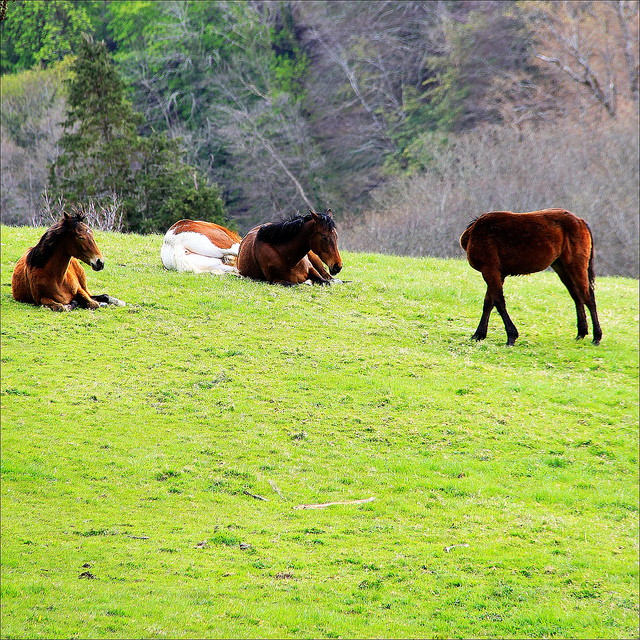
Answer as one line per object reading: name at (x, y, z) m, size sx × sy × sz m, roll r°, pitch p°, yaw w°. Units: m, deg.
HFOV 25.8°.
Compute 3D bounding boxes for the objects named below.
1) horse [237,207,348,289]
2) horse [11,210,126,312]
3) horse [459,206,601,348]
horse at (-0.340, -1.576, 36.321) m, size 2.296 × 2.259 × 2.327 m, roll -8°, pitch 17°, yaw -30°
horse at (-6.199, -1.356, 33.236) m, size 2.032 × 2.376 × 1.477 m, roll -1°, pitch 6°, yaw -12°
horse at (5.018, -0.963, 33.059) m, size 3.049 × 3.266 × 0.811 m, roll -1°, pitch 5°, yaw -9°
